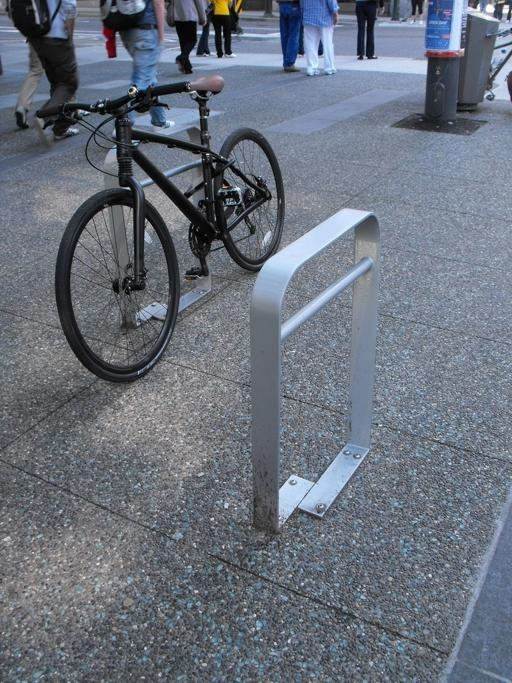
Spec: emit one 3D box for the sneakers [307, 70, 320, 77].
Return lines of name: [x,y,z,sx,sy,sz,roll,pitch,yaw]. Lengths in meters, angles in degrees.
sneakers: [1.271,-6.053,12.190,0.268,0.132,0.468,0,30,8]

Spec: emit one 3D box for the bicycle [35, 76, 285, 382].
bicycle: [-0.421,-0.754,3.148,0.295,1.347,2.252,9,32,23]

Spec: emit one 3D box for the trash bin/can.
trash bin/can: [3.427,-4.368,8.384,0.515,1.246,0.385,1,29,10]

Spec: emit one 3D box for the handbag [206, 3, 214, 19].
handbag: [-1.240,-8.857,14.500,0.078,0.320,0.232,1,30,-13]

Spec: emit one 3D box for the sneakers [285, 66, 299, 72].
sneakers: [0.851,-6.452,12.829,0.312,0.132,0.119,-5,65,-1]
